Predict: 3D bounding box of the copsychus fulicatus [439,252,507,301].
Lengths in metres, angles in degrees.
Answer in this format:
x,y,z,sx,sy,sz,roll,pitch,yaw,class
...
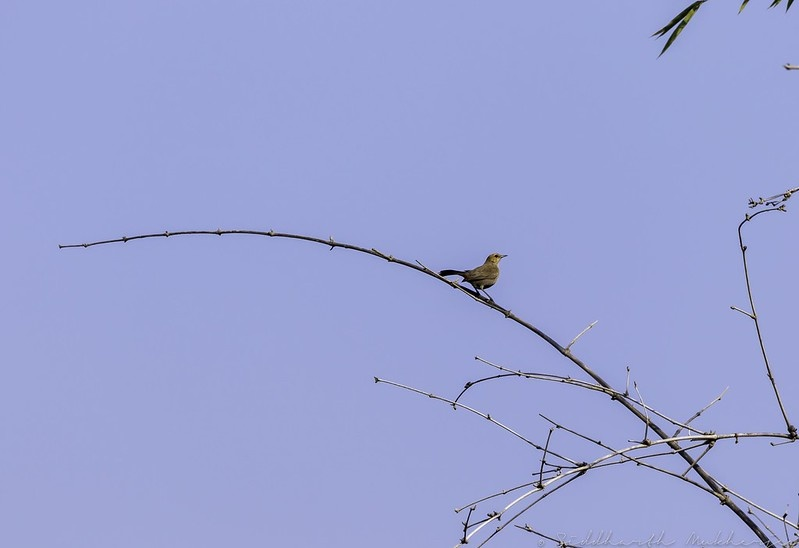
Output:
x,y,z,sx,sy,sz,roll,pitch,yaw,class
0.751,0.018,13.788,0.806,0.227,0.462,-1,-90,-23,copsychus fulicatus
